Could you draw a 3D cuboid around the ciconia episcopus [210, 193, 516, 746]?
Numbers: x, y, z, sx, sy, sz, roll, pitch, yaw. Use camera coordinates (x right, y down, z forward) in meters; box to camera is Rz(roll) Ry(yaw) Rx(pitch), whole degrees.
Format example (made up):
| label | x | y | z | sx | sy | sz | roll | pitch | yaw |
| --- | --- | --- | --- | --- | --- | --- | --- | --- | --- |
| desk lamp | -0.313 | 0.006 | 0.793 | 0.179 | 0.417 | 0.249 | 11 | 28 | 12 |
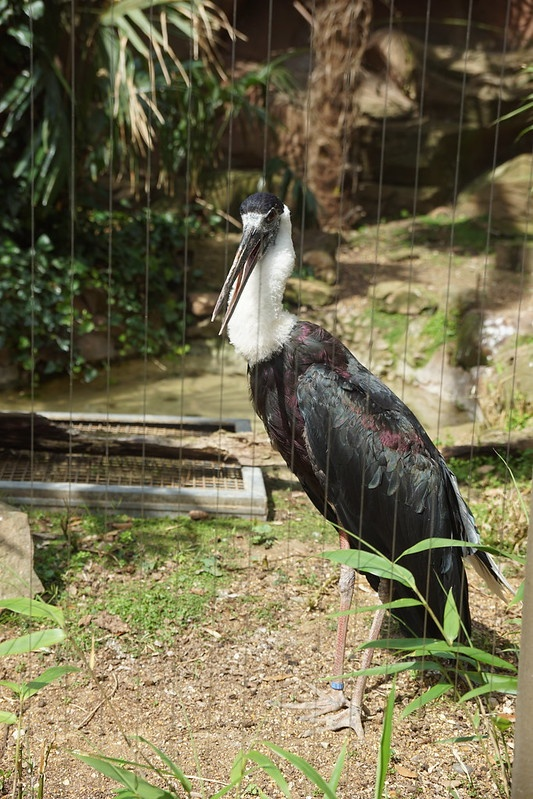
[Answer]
| label | x | y | z | sx | sy | sz | roll | pitch | yaw |
| --- | --- | --- | --- | --- | --- | --- | --- | --- | --- |
| ciconia episcopus | 0.310 | 0.153 | 3.168 | 1.117 | 2.081 | 0.848 | 3 | 11 | 40 |
